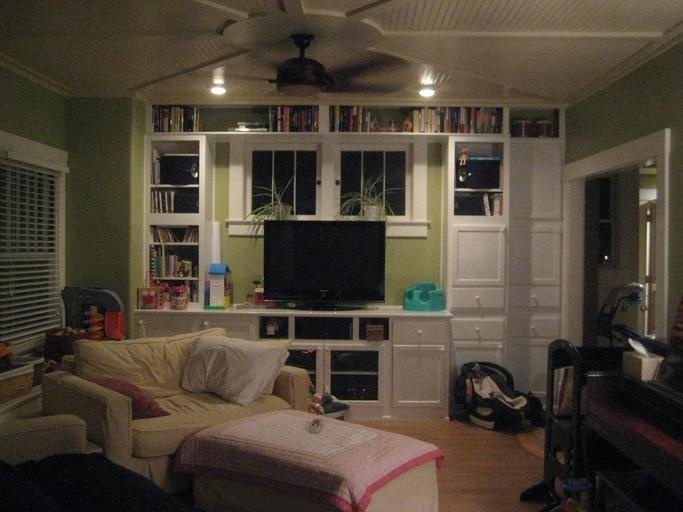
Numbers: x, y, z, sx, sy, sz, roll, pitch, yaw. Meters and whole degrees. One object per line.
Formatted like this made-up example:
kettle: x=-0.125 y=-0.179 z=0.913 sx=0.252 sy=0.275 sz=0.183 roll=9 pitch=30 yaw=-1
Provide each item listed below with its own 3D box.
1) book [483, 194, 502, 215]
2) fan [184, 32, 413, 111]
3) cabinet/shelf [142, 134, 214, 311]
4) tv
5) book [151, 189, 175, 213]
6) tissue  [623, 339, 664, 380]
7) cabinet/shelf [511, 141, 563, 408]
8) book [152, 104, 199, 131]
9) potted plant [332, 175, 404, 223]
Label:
book: x=1.451 y=-0.502 z=5.649 sx=0.196 sy=0.281 sz=0.224 roll=0 pitch=5 yaw=3
fan: x=0.075 y=-1.492 z=4.802 sx=0.965 sy=0.352 sz=1.327 roll=-1 pitch=1 yaw=14
cabinet/shelf: x=-1.608 y=-0.293 z=5.602 sx=0.594 sy=1.593 sz=0.433 roll=0 pitch=-1 yaw=-11
tv: x=-0.158 y=0.083 z=5.621 sx=1.219 sy=0.853 sz=0.329 roll=1 pitch=2 yaw=8
book: x=-1.769 y=-0.540 z=5.622 sx=0.231 sy=0.210 sz=0.055 roll=-3 pitch=1 yaw=2
tissue : x=1.693 y=0.540 z=3.266 sx=0.139 sy=0.263 sz=0.273 roll=0 pitch=3 yaw=-5
cabinet/shelf: x=1.867 y=-0.020 z=5.920 sx=0.554 sy=2.293 sz=0.526 roll=1 pitch=5 yaw=-19
book: x=-1.643 y=-1.361 z=5.642 sx=0.274 sy=0.241 sz=0.110 roll=-1 pitch=3 yaw=2
potted plant: x=0.298 y=-0.590 z=5.755 sx=0.676 sy=0.453 sz=0.254 roll=-1 pitch=1 yaw=2
